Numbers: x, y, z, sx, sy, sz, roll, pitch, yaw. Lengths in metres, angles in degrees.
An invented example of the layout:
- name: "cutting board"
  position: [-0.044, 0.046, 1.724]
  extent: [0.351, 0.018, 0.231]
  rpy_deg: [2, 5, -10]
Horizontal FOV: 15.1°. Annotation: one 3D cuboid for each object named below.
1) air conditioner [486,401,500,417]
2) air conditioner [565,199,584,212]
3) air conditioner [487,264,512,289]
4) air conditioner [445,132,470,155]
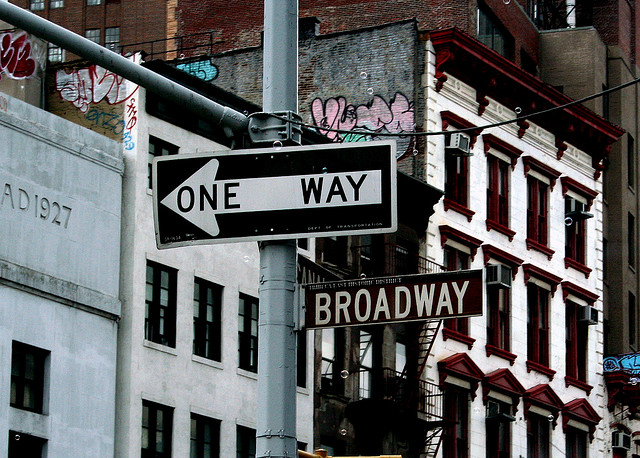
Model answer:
- name: "air conditioner"
  position: [6.586, 7.164, 93.172]
  extent: [0.521, 0.465, 0.163]
  rpy_deg: [15, -34, -25]
- name: "air conditioner"
  position: [10.357, -0.847, 98.829]
  extent: [0.541, 0.551, 0.597]
  rpy_deg: [-6, -12, 37]
- name: "air conditioner"
  position: [6.848, 1.994, 93.492]
  extent: [0.795, 1.041, 1.412]
  rpy_deg: [-5, -12, 27]
- name: "air conditioner"
  position: [5.157, -3.197, 92.874]
  extent: [0.976, 0.928, 0.981]
  rpy_deg: [-2, -9, 23]
